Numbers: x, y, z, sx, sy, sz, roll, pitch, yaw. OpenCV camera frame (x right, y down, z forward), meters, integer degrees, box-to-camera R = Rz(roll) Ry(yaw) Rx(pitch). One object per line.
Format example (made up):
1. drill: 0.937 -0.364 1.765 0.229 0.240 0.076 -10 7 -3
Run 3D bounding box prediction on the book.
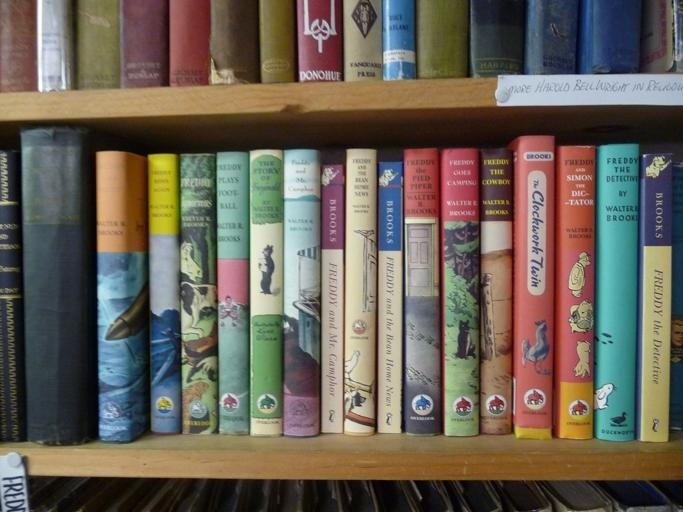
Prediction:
1. book: 0.076 0.049 1.724 1.597 0.608 0.655 0 5 4
